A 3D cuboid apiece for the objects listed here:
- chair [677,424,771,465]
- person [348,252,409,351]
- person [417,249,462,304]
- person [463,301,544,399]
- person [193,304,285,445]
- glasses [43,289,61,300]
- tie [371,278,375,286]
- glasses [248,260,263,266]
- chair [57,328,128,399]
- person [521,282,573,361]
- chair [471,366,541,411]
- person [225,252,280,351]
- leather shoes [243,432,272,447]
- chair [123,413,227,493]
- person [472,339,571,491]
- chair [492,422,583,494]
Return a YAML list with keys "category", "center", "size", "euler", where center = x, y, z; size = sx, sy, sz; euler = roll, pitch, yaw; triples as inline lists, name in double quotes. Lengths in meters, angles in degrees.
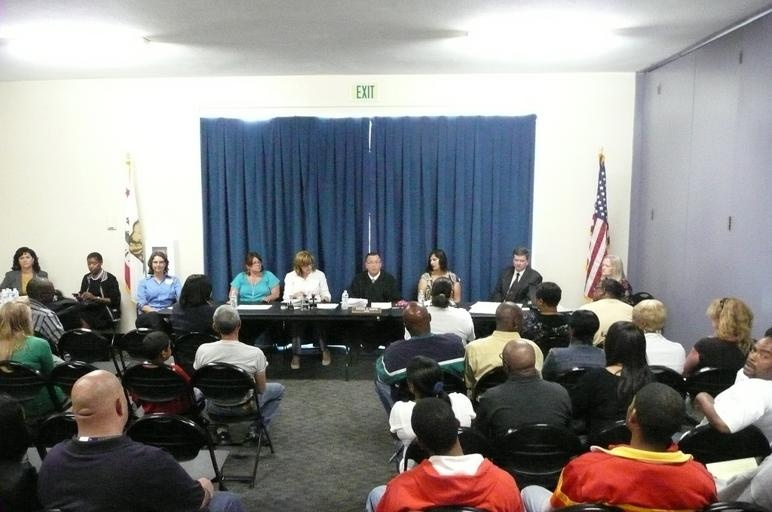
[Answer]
- category: "chair"
  center: [2.429, 1.352, 4.461]
  size: [0.345, 0.409, 0.596]
  euler: [1, -30, 9]
- category: "person"
  center: [-0.161, 0.699, 8.336]
  size: [0.726, 1.440, 0.695]
  euler: [-1, -1, -8]
- category: "person"
  center: [0.686, 0.270, 7.786]
  size: [0.674, 0.879, 0.519]
  euler: [-1, -6, 26]
- category: "person"
  center: [1.073, 0.930, 5.531]
  size: [0.696, 1.042, 0.567]
  euler: [-3, 17, 7]
- category: "person"
  center: [-1.404, 1.186, 5.860]
  size: [0.935, 1.535, 0.869]
  euler: [-1, 13, -22]
- category: "glasses"
  center: [-3.781, 0.444, 6.891]
  size: [0.137, 0.161, 0.161]
  euler: [3, 13, -5]
- category: "tie"
  center: [-0.176, 0.354, 8.335]
  size: [0.067, 0.068, 0.017]
  euler: [10, -11, 9]
- category: "glasses"
  center: [-1.742, 0.093, 8.183]
  size: [0.160, 0.086, 0.065]
  euler: [-7, 17, -35]
- category: "chair"
  center: [-3.098, 1.172, 6.556]
  size: [0.664, 0.969, 0.742]
  euler: [-1, 8, -13]
- category: "person"
  center: [1.699, 0.858, 6.251]
  size: [0.578, 1.155, 0.568]
  euler: [0, 13, 19]
- category: "chair"
  center: [1.015, 1.139, 5.195]
  size: [0.322, 0.467, 0.365]
  euler: [1, 7, 2]
- category: "person"
  center: [-1.805, 0.606, 8.192]
  size: [0.668, 1.235, 0.656]
  euler: [-2, 2, 9]
- category: "leather shoes"
  center: [-1.183, 1.744, 5.845]
  size: [0.366, 0.157, 0.135]
  euler: [1, 2, -5]
- category: "chair"
  center: [-1.583, 1.427, 4.721]
  size: [0.530, 0.885, 0.673]
  euler: [2, 7, 0]
- category: "person"
  center: [1.099, 1.457, 4.873]
  size: [0.674, 1.611, 0.960]
  euler: [-5, 12, 3]
- category: "chair"
  center: [1.062, 1.464, 4.532]
  size: [0.495, 0.651, 0.517]
  euler: [-1, 15, 4]
